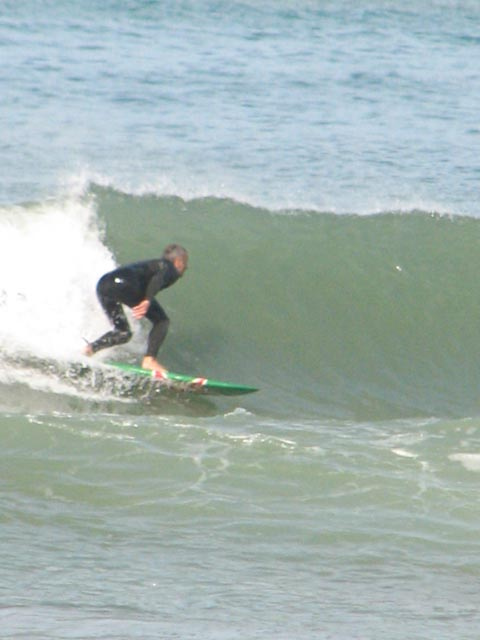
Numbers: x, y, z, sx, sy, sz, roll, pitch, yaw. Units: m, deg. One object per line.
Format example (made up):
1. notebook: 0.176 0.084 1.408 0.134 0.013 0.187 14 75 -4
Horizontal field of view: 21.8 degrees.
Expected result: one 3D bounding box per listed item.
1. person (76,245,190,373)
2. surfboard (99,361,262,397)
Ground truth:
1. person: -1.181 -0.146 13.548 1.245 1.035 1.348 5 80 -13
2. surfboard: -0.723 0.680 13.714 1.236 0.166 0.078 12 83 4
